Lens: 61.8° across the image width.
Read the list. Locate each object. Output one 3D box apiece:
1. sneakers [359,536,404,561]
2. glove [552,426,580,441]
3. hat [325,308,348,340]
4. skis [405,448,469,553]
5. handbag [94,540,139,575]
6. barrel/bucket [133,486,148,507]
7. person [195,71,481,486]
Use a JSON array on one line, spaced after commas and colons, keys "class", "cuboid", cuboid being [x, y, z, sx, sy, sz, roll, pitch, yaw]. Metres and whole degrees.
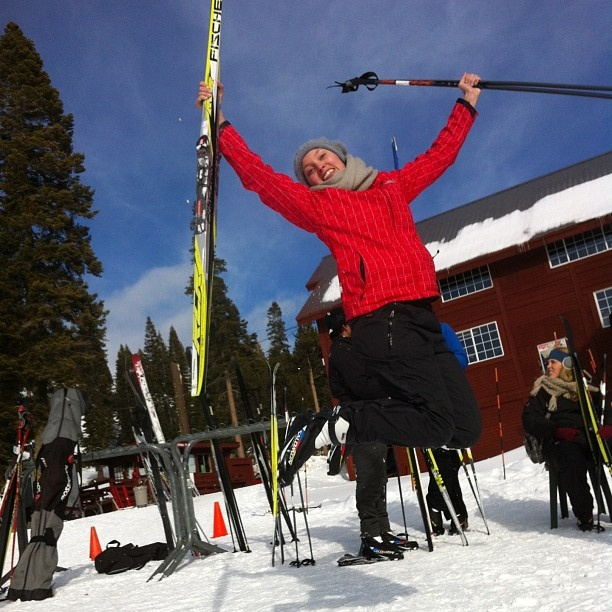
[{"class": "sneakers", "cuboid": [0.549, 1.785, 3.803, 0.301, 0.158, 0.355, -10, -11, 0]}, {"class": "glove", "cuboid": [2.230, 1.082, 4.339, 0.133, 0.032, 0.125, 0, 11, -8]}, {"class": "hat", "cuboid": [0.287, 0.147, 4.159, 0.194, 0.235, 0.251, 3, 9, 18]}, {"class": "skis", "cuboid": [1.030, 1.489, 4.165, 0.292, 1.137, 0.078, -23, 22, -13]}, {"class": "handbag", "cuboid": [-1.743, 2.327, 4.687, 0.409, 0.152, 0.393, -5, 12, -29]}, {"class": "barrel/bucket", "cuboid": [-5.772, 6.746, 17.997, 0.392, 0.718, 1.460, -7, -12, -21]}, {"class": "person", "cuboid": [0.403, -0.159, 2.625, 1.406, 1.854, 0.666, -8, -13, -15]}]
